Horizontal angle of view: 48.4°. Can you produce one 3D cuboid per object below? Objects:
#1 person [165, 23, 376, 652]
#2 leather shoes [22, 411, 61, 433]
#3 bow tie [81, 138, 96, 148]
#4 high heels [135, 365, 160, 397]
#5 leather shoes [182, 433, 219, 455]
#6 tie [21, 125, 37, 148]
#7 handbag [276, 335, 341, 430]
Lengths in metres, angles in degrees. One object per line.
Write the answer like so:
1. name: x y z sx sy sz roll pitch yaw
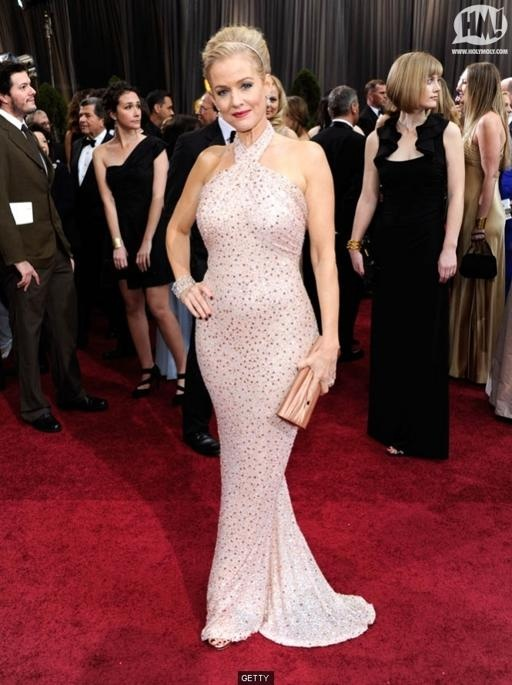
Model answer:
1. person: 0.052 0.056 1.408 0.525 1.515 0.385 -2 7 -10
2. leather shoes: -1.268 0.475 3.364 0.260 0.132 0.100 5 9 24
3. bow tie: -1.381 -1.637 4.690 0.102 0.043 0.075 -1 13 -37
4. high heels: -0.736 0.268 3.862 0.105 0.247 0.269 -1 -4 26
5. leather shoes: -0.283 0.520 2.914 0.075 0.093 0.225 -10 12 -37
6. tie: -1.306 -1.195 3.300 0.075 0.115 0.041 -2 33 28
7. handbag: 0.102 0.121 1.243 0.113 0.130 0.052 -6 9 -38
